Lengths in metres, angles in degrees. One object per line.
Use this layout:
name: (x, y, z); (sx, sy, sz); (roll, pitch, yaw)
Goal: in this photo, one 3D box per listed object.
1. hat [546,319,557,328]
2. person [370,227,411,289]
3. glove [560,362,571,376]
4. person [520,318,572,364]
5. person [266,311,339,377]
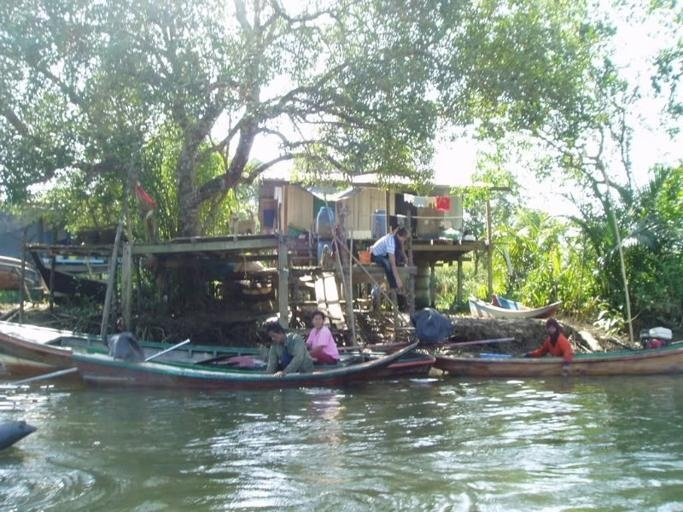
hat: (4.620, 1.497, 14.035); (0.261, 0.171, 0.265); (0, 8, 6)
person: (1.328, 0.001, 15.883); (0.891, 1.452, 1.299); (5, 10, 32)
glove: (4.855, 2.474, 13.908); (0.217, 0.259, 0.240); (0, 7, 13)
person: (4.716, 1.906, 14.306); (0.668, 0.987, 1.146); (-8, 2, -33)
person: (-0.898, 1.885, 13.347); (0.941, 1.053, 1.517); (-14, -15, 40)
